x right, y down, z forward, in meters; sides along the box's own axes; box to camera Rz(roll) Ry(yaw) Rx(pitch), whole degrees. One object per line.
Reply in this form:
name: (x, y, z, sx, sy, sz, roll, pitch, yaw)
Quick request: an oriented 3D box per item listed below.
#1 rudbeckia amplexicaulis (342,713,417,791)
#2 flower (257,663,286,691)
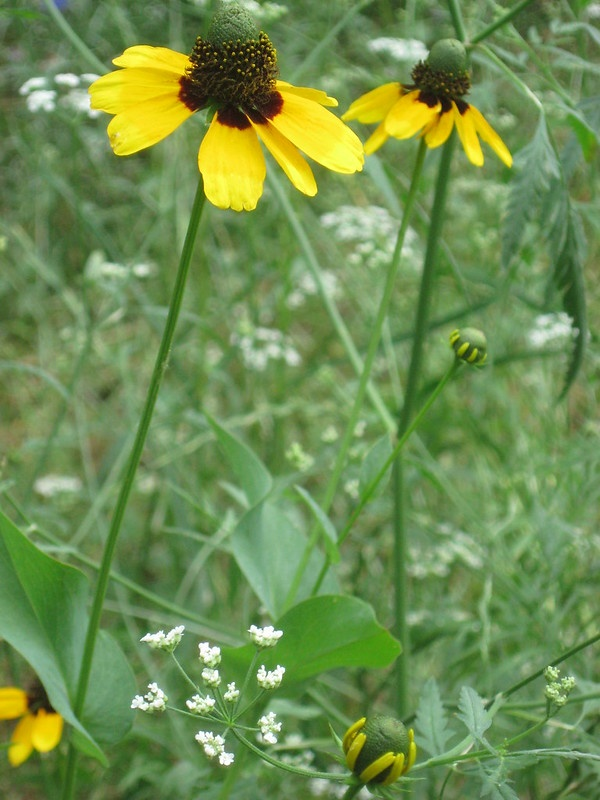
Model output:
rudbeckia amplexicaulis: (0.068, 0.297, 0.784, 0.063, 0.057, 0.073, 0, -2, 3)
flower: (-0.026, 0.244, 0.808, 0.033, 0.020, 0.036, 1, 4, -1)
